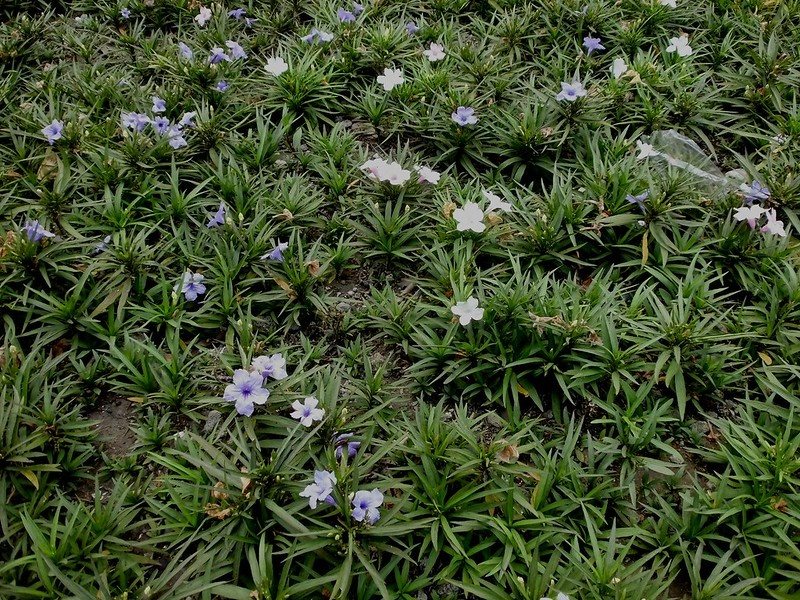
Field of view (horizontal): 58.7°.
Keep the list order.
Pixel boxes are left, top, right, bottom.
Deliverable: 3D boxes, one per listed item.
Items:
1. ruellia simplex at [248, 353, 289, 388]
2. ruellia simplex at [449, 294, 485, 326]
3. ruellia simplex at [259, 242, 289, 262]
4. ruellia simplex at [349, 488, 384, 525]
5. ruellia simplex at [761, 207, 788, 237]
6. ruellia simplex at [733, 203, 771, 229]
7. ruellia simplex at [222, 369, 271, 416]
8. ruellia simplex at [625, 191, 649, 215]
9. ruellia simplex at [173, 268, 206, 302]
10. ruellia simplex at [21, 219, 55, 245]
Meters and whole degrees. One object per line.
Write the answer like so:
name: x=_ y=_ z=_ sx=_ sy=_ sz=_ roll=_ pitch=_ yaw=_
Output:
ruellia simplex: x=-0.809 y=0.415 z=4.509 sx=0.181 sy=0.081 sz=0.183 roll=-26 pitch=59 yaw=-41
ruellia simplex: x=0.468 y=0.090 z=4.735 sx=0.218 sy=0.141 sz=0.164 roll=-23 pitch=54 yaw=-12
ruellia simplex: x=-0.878 y=-0.338 z=5.071 sx=0.131 sy=0.146 sz=0.066 roll=-23 pitch=77 yaw=27
ruellia simplex: x=-0.185 y=1.210 z=4.145 sx=0.164 sy=0.214 sz=0.170 roll=1 pitch=51 yaw=6
ruellia simplex: x=2.673 y=-0.535 z=5.040 sx=0.189 sy=0.077 sz=0.217 roll=13 pitch=80 yaw=-21
ruellia simplex: x=2.467 y=-0.617 z=5.045 sx=0.215 sy=0.111 sz=0.214 roll=-2 pitch=36 yaw=14
ruellia simplex: x=-0.936 y=0.538 z=4.372 sx=0.258 sy=0.096 sz=0.302 roll=26 pitch=26 yaw=0
ruellia simplex: x=1.745 y=-0.730 z=5.225 sx=0.155 sy=0.160 sz=0.125 roll=15 pitch=54 yaw=17
ruellia simplex: x=-1.477 y=-0.101 z=4.985 sx=0.190 sy=0.064 sz=0.238 roll=1 pitch=90 yaw=-12
ruellia simplex: x=-2.547 y=-0.479 z=5.001 sx=0.179 sy=0.081 sz=0.185 roll=2 pitch=58 yaw=-48
